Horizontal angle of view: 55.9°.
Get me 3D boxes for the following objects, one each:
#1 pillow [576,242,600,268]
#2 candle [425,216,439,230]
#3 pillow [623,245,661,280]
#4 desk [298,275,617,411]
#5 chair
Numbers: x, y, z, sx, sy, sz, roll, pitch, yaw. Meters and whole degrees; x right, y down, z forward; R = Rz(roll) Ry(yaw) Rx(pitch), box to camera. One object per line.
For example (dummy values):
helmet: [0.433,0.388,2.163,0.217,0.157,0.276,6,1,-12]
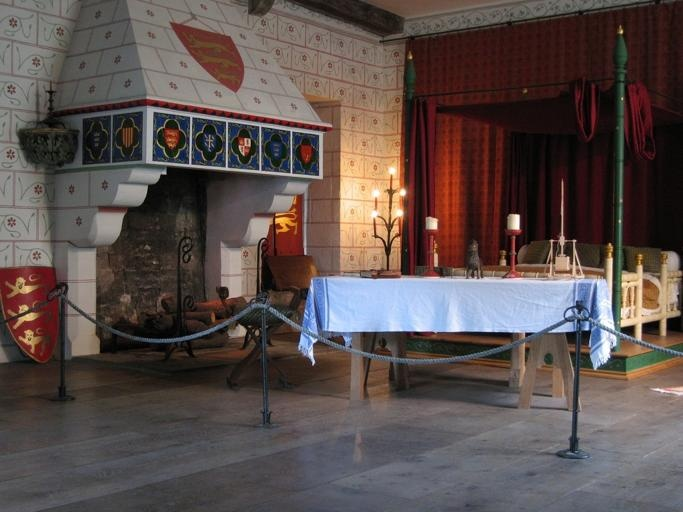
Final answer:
pillow: [3.478,-0.015,9.033,0.322,0.311,0.247,-3,-3,-30]
candle: [0.802,-0.278,5.744,0.097,0.115,0.152,0,1,2]
pillow: [3.876,0.099,8.287,0.400,0.384,0.138,3,-21,-8]
desk: [0.858,0.426,5.171,2.364,0.501,0.251,0,1,13]
chair: [-0.748,0.760,6.371,0.943,1.243,0.942,1,-3,2]
